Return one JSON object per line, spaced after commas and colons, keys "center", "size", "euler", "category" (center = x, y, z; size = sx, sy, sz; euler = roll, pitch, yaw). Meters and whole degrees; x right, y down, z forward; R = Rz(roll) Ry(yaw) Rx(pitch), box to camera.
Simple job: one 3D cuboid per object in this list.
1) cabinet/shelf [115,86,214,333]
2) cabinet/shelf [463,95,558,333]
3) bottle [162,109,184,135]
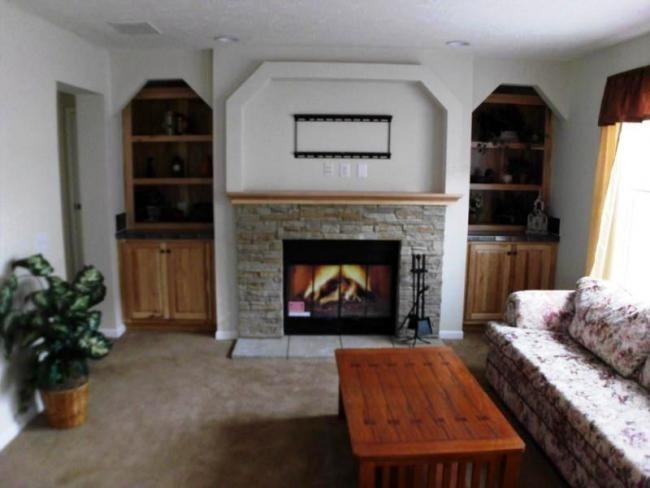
{"center": [-1.693, -0.423, 5.630], "size": [0.994, 2.675, 0.770], "euler": [0, 6, -11], "category": "cabinet/shelf"}
{"center": [2.019, -0.401, 5.653], "size": [0.979, 2.646, 0.676], "euler": [1, 6, 8], "category": "cabinet/shelf"}
{"center": [-1.652, -1.336, 5.720], "size": [0.138, 0.242, 0.246], "euler": [2, 21, -1], "category": "bottle"}
